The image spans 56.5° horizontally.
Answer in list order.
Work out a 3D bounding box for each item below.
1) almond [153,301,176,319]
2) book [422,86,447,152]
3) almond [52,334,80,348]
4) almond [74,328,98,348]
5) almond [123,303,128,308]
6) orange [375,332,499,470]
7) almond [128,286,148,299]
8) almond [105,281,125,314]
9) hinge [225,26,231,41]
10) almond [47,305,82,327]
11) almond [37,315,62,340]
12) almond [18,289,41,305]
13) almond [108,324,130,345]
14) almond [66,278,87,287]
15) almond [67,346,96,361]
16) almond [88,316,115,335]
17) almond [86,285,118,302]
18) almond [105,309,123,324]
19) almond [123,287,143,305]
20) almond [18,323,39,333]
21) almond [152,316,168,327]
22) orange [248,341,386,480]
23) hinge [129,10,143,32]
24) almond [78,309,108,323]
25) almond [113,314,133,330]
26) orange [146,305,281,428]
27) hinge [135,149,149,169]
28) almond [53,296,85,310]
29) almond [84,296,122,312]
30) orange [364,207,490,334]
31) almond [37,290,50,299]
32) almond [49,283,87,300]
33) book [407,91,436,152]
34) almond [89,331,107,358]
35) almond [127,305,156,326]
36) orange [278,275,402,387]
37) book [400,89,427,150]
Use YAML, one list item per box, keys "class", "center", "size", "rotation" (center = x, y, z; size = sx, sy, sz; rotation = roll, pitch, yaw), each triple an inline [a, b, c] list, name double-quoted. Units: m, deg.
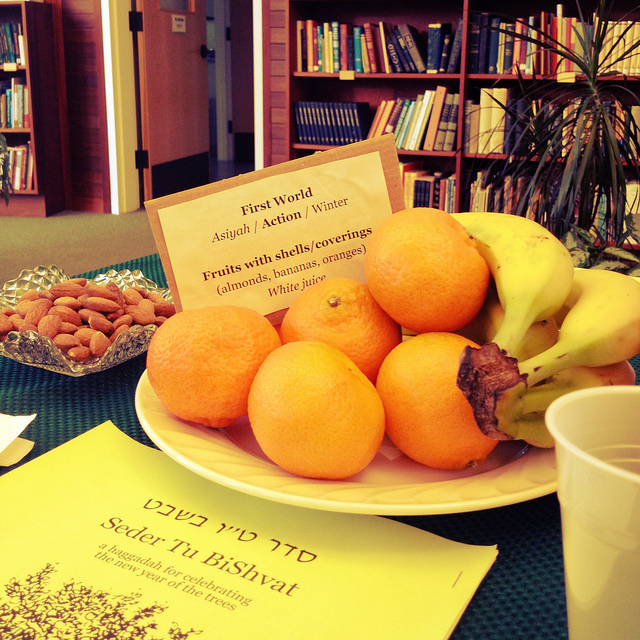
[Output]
- class: "almond"
  center: [-0.171, -0.011, 0.653]
  size: [0.022, 0.011, 0.021]
  rotation: [20, 28, -4]
- class: "book"
  center: [0.596, -1.038, 3.110]
  size: [0.070, 0.268, 0.281]
  rotation: [12, 19, 2]
- class: "almond"
  center: [-0.252, 0.021, 0.589]
  size: [0.021, 0.011, 0.012]
  rotation: [6, 53, -7]
- class: "almond"
  center: [-0.237, 0.019, 0.596]
  size: [0.018, 0.012, 0.022]
  rotation: [-1, 15, -10]
- class: "almond"
  center: [-0.214, -0.015, 0.655]
  size: [0.006, 0.003, 0.006]
  rotation: [19, 18, 38]
- class: "orange"
  center: [0.091, 0.055, 0.423]
  size: [0.089, 0.090, 0.085]
  rotation: [9, -1, -31]
- class: "almond"
  center: [-0.210, -0.031, 0.690]
  size: [0.018, 0.010, 0.013]
  rotation: [26, 22, 2]
- class: "almond"
  center: [-0.226, -0.023, 0.651]
  size: [0.033, 0.011, 0.017]
  rotation: [51, 37, 17]
- class: "hinge"
  center: [-1.031, -3.154, 6.599]
  size: [0.040, 0.134, 0.155]
  rotation: [6, 9, 11]
- class: "almond"
  center: [-0.260, -0.004, 0.611]
  size: [0.029, 0.017, 0.018]
  rotation: [32, 44, 0]
- class: "almond"
  center: [-0.266, 0.006, 0.585]
  size: [0.019, 0.026, 0.017]
  rotation: [24, -3, 1]
- class: "almond"
  center: [-0.334, -0.023, 0.681]
  size: [0.020, 0.011, 0.021]
  rotation: [-26, 0, -19]
- class: "almond"
  center: [-0.200, 0.016, 0.590]
  size: [0.009, 0.010, 0.018]
  rotation: [31, 67, 23]
- class: "almond"
  center: [-0.273, -0.041, 0.665]
  size: [0.015, 0.007, 0.014]
  rotation: [1, 6, 0]
- class: "almond"
  center: [-0.235, 0.034, 0.579]
  size: [0.021, 0.011, 0.011]
  rotation: [-1, -4, -17]
- class: "almond"
  center: [-0.224, 0.007, 0.615]
  size: [0.025, 0.011, 0.012]
  rotation: [27, 12, -19]
- class: "almond"
  center: [-0.234, -0.028, 0.640]
  size: [0.030, 0.010, 0.014]
  rotation: [19, 5, -5]
- class: "almond"
  center: [-0.221, -0.003, 0.640]
  size: [0.016, 0.008, 0.012]
  rotation: [-11, 9, 18]
- class: "almond"
  center: [-0.212, -0.025, 0.673]
  size: [0.023, 0.014, 0.014]
  rotation: [47, 2, -3]
- class: "almond"
  center: [-0.290, 0.010, 0.594]
  size: [0.019, 0.009, 0.013]
  rotation: [0, -9, -5]
- class: "almond"
  center: [-0.171, 0.001, 0.633]
  size: [0.015, 0.008, 0.013]
  rotation: [-36, -13, 14]
- class: "orange"
  center: [-0.001, 0.077, 0.404]
  size: [0.082, 0.059, 0.082]
  rotation: [-14, -10, 5]
- class: "hinge"
  center: [-1.227, -1.968, 3.954]
  size: [0.116, 0.101, 0.027]
  rotation: [-3, 6, -6]
- class: "almond"
  center: [-0.237, -0.005, 0.618]
  size: [0.025, 0.012, 0.012]
  rotation: [17, -28, -10]
- class: "almond"
  center: [-0.208, 0.003, 0.632]
  size: [0.020, 0.010, 0.010]
  rotation: [-25, 14, -12]
- class: "orange"
  center: [-0.067, 0.040, 0.476]
  size: [0.128, 0.085, 0.115]
  rotation: [0, -5, -26]
- class: "hinge"
  center: [-1.260, -1.126, 4.189]
  size: [0.068, 0.114, 0.131]
  rotation: [12, 17, 44]
- class: "almond"
  center: [-0.266, -0.016, 0.626]
  size: [0.023, 0.013, 0.014]
  rotation: [7, 3, 4]
- class: "almond"
  center: [-0.232, -0.016, 0.634]
  size: [0.031, 0.013, 0.014]
  rotation: [13, 6, -10]
- class: "orange"
  center: [0.075, -0.028, 0.471]
  size: [0.107, 0.076, 0.106]
  rotation: [-9, 11, 23]
- class: "almond"
  center: [-0.308, -0.026, 0.660]
  size: [0.013, 0.008, 0.015]
  rotation: [-1, 1, -28]
- class: "almond"
  center: [-0.272, -0.031, 0.639]
  size: [0.034, 0.010, 0.017]
  rotation: [3, 22, -1]
- class: "book"
  center: [0.540, -1.041, 3.140]
  size: [0.063, 0.245, 0.248]
  rotation: [17, 26, -3]
- class: "almond"
  center: [-0.219, 0.025, 0.592]
  size: [0.018, 0.025, 0.016]
  rotation: [-4, -9, -14]
- class: "almond"
  center: [-0.193, -0.004, 0.642]
  size: [0.033, 0.016, 0.017]
  rotation: [24, 15, 14]
- class: "orange"
  center: [0.016, -0.009, 0.504]
  size: [0.118, 0.099, 0.110]
  rotation: [3, 16, -4]
- class: "book"
  center: [0.480, -1.062, 3.198]
  size: [0.065, 0.253, 0.257]
  rotation: [17, 22, -3]
